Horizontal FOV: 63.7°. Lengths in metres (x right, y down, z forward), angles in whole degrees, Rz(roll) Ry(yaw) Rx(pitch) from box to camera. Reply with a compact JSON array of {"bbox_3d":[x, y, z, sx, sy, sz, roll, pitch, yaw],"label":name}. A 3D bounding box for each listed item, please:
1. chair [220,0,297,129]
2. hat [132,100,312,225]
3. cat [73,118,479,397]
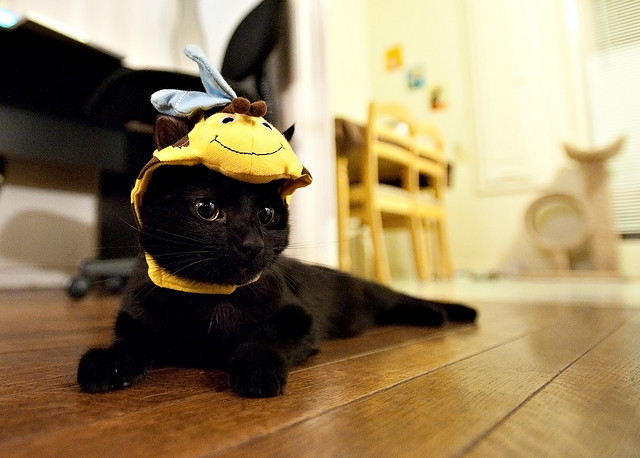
[{"bbox_3d":[-0.199,-0.577,1.743,0.272,0.467,0.390,-3,10,-8],"label":"chair"},{"bbox_3d":[-0.209,-0.179,1.270,0.394,0.169,0.398,0,-5,0],"label":"hat"},{"bbox_3d":[0.011,0.045,1.516,0.465,0.670,1.332,12,9,35],"label":"cat"}]
